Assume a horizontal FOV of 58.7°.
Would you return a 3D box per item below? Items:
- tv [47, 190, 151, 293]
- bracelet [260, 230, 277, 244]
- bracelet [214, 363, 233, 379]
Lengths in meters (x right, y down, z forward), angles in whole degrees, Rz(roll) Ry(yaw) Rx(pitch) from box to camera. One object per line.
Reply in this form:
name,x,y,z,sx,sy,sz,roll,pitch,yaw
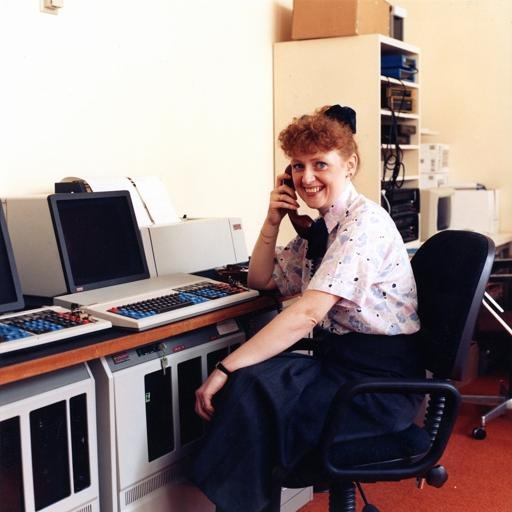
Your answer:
tv,-0.490,-0.055,1.443,0.350,0.292,0.022,-6,8,27
bracelet,0.043,-0.070,1.545,0.054,0.055,0.053,6,0,24
bracelet,-0.081,0.278,1.118,0.039,0.028,0.014,37,68,25
